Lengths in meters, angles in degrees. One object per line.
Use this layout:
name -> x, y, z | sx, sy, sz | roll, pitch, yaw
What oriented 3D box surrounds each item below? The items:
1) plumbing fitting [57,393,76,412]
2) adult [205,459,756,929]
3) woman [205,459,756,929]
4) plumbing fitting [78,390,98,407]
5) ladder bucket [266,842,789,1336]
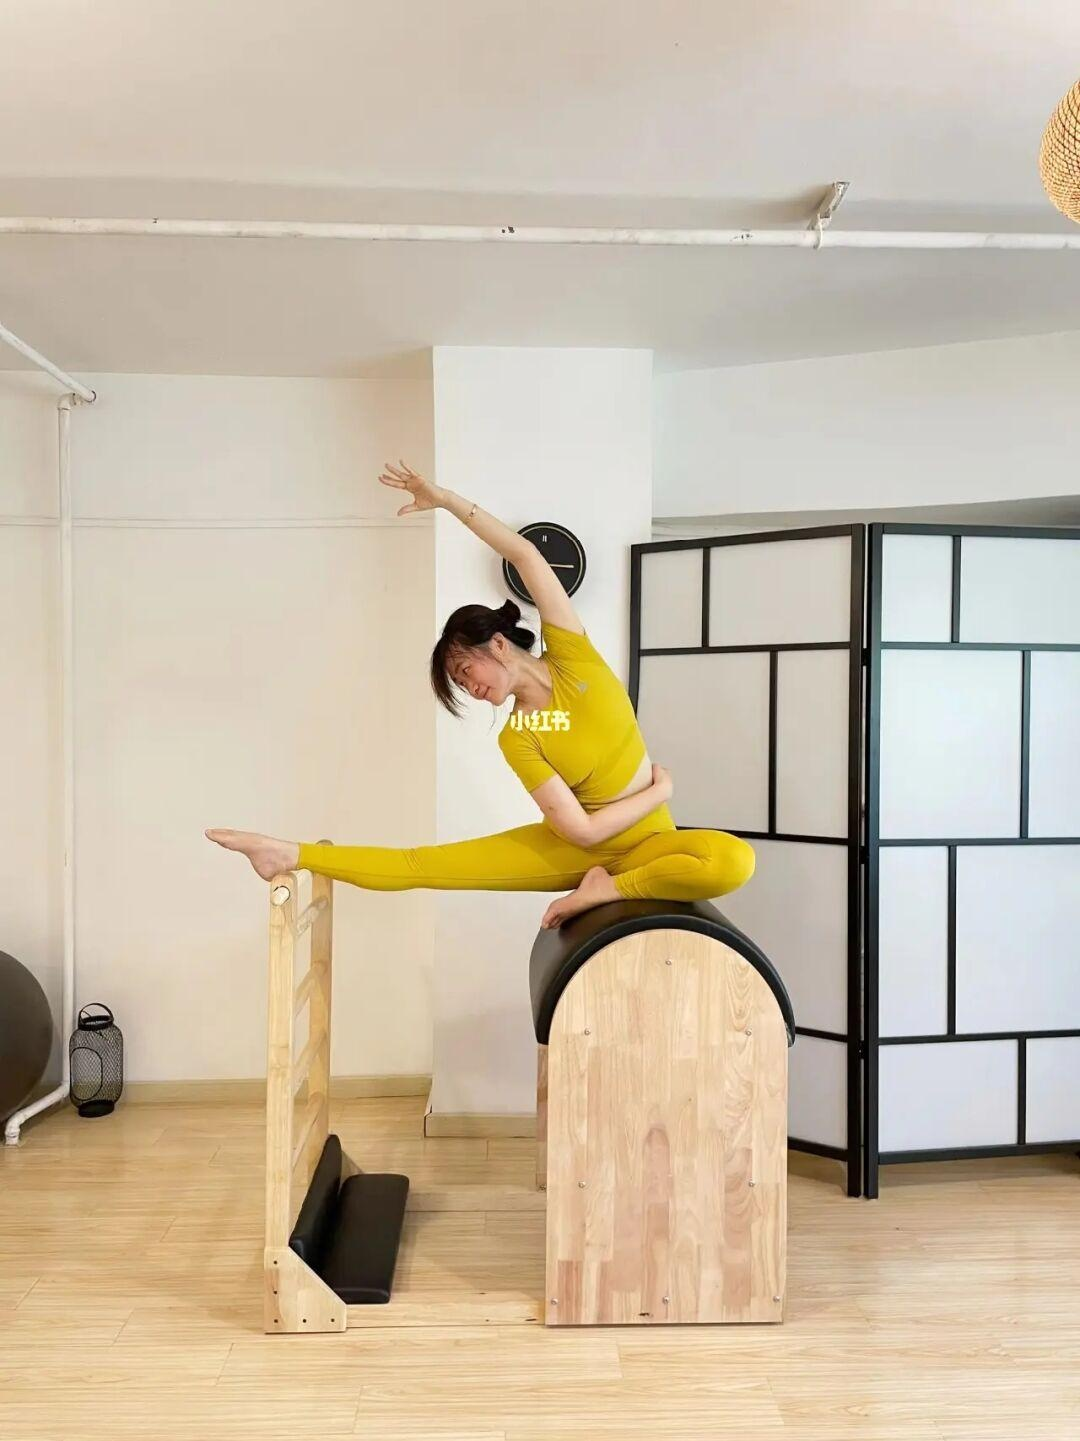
plumbing fitting -> -1.565, -1.051, 4.568 | 0.049, 0.081, 0.086 | 1, 3, -38
adult -> -0.249, -0.037, 3.298 | 1.228, 1.126, 0.548 | -13, 12, -4
woman -> -0.222, -0.025, 3.183 | 1.200, 1.123, 0.572 | -15, 20, -22
plumbing fitting -> -1.500, -1.071, 4.589 | 0.054, 0.025, 0.038 | 10, 37, -14
ladder bucket -> -0.015, 0.875, 3.469 | 1.178, 0.903, 0.942 | -1, -1, -2
